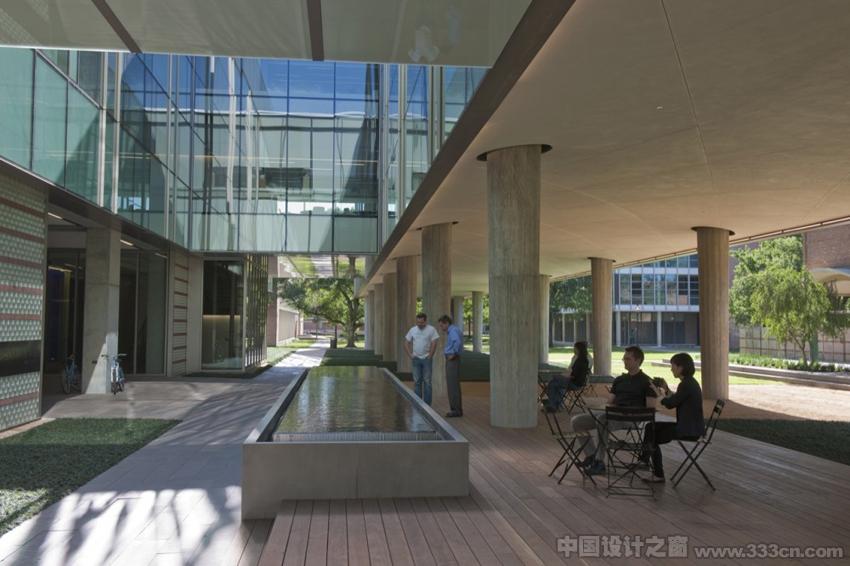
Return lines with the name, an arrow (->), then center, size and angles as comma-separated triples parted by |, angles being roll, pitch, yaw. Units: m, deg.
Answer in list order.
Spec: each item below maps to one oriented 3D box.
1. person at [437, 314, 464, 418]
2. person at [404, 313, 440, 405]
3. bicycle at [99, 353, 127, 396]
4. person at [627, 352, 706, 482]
person -> 0.554, 1.783, 12.332 | 0.483, 2.184, 1.219 | 0, -5, 3
person -> -0.097, 1.713, 12.736 | 0.657, 2.066, 1.180 | 0, -5, -2
bicycle -> -9.810, 2.878, 17.705 | 0.901, 1.107, 1.837 | -3, -11, -13
person -> 3.307, 1.830, 7.851 | 0.856, 1.719, 0.791 | 1, -5, -18
